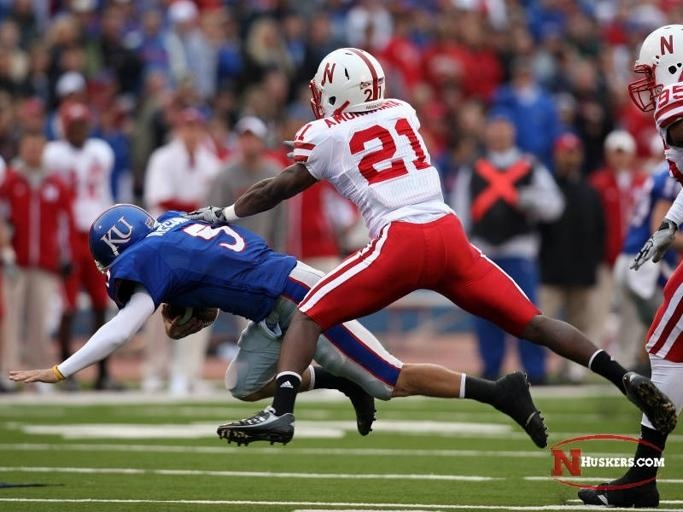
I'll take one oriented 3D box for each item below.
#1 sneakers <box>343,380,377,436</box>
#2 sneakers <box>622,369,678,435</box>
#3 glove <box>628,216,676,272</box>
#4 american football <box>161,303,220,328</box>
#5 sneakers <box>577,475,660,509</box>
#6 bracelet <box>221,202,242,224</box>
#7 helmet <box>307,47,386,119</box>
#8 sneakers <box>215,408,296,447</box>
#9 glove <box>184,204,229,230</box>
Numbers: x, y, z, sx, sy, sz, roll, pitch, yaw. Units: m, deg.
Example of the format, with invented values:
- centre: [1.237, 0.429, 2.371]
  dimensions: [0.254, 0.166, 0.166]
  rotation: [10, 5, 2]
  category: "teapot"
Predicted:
- centre: [0.118, 0.913, 6.546]
  dimensions: [0.183, 0.409, 0.125]
  rotation: [-12, 13, 6]
  category: "sneakers"
- centre: [1.629, 0.770, 5.594]
  dimensions: [0.183, 0.396, 0.194]
  rotation: [-41, -1, -10]
  category: "sneakers"
- centre: [2.134, -0.096, 7.300]
  dimensions: [0.141, 0.436, 0.141]
  rotation: [27, 17, -35]
  category: "glove"
- centre: [-0.914, 0.339, 6.300]
  dimensions: [0.219, 0.087, 0.162]
  rotation: [10, -2, -1]
  category: "american football"
- centre: [1.517, 1.289, 5.830]
  dimensions: [0.432, 0.174, 0.160]
  rotation: [5, -11, 11]
  category: "sneakers"
- centre: [-0.658, -0.259, 6.184]
  dimensions: [0.107, 0.051, 0.113]
  rotation: [-37, -11, 25]
  category: "bracelet"
- centre: [0.047, -1.012, 6.307]
  dimensions: [0.400, 0.447, 0.518]
  rotation: [-19, 24, -41]
  category: "helmet"
- centre: [-0.454, 0.973, 5.795]
  dimensions: [0.475, 0.172, 0.263]
  rotation: [5, 42, -6]
  category: "sneakers"
- centre: [-0.775, -0.221, 6.207]
  dimensions: [0.183, 0.084, 0.123]
  rotation: [-4, 26, 17]
  category: "glove"
